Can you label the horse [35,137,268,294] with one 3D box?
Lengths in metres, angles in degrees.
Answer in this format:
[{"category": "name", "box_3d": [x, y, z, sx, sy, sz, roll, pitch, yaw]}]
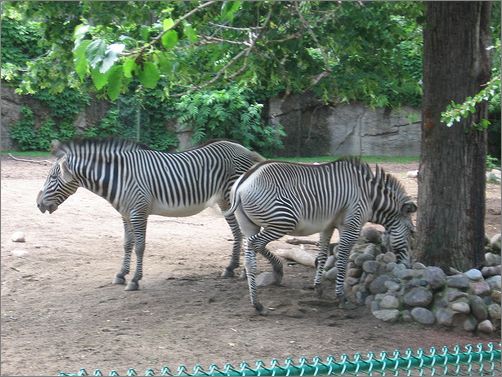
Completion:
[{"category": "horse", "box_3d": [-1.006, 0.225, 7.463, 3.342, 1.667, 0.754, -2, -1, 9]}]
